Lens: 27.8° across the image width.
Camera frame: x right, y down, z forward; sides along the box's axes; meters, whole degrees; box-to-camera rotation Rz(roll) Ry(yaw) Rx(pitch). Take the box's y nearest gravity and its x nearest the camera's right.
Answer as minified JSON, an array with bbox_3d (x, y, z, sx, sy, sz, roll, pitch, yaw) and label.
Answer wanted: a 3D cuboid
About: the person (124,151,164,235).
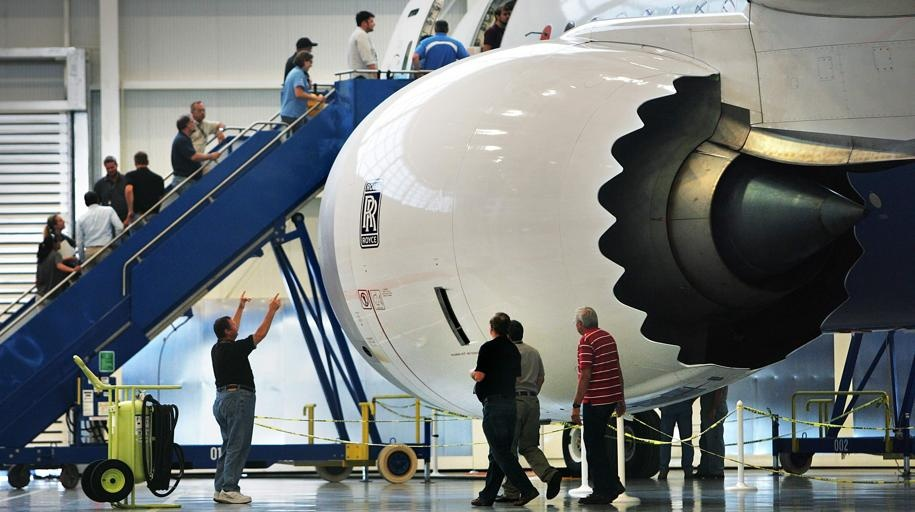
[{"bbox_3d":[-6.368,-1.321,37.649,0.804,1.595,0.921,4,-4,-27],"label":"person"}]

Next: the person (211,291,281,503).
[{"bbox_3d":[-4.185,2.732,34.920,1.045,3.886,0.676,3,-4,-7],"label":"person"}]

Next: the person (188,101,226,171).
[{"bbox_3d":[-5.475,-2.629,39.138,0.441,1.276,0.710,8,29,-1],"label":"person"}]

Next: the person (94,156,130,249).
[{"bbox_3d":[-7.217,-1.079,38.593,0.820,1.975,0.643,3,0,0],"label":"person"}]

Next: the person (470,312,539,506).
[{"bbox_3d":[0.816,2.709,33.248,0.993,3.321,1.453,1,-4,19],"label":"person"}]

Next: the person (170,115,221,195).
[{"bbox_3d":[-5.603,-2.019,38.083,0.782,1.835,0.788,1,-1,22],"label":"person"}]

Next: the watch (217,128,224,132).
[{"bbox_3d":[-5.014,-2.651,39.027,0.092,0.083,0.078,-13,43,-8],"label":"watch"}]
